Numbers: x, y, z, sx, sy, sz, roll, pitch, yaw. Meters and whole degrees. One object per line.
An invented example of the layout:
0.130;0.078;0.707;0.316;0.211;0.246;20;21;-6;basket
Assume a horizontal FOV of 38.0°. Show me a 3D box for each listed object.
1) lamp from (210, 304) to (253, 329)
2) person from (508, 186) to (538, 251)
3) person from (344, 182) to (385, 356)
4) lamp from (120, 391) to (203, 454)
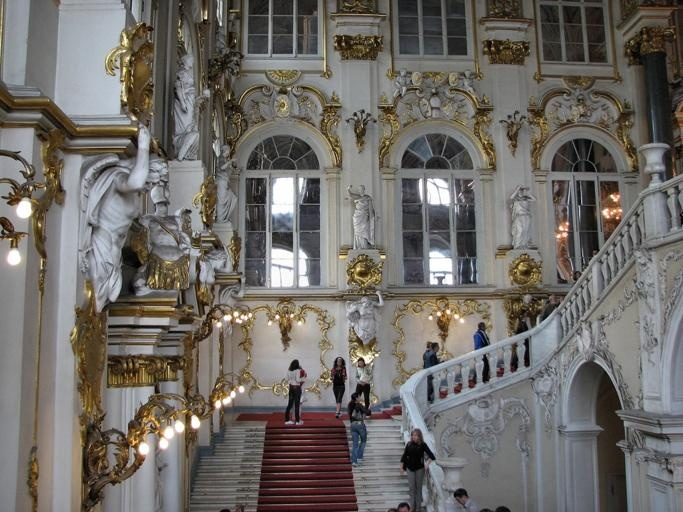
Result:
-2.123;1.164;19.153;0.814;0.303;0.667;1;-17;-9;lamp
4.226;-0.866;23.171;0.555;1.535;0.299;-2;-10;12;person
0.522;0.359;22.477;0.797;4.032;0.607;0;-10;0;person
-2.179;2.131;12.519;0.904;0.770;2.427;1;-11;-8;lamp
